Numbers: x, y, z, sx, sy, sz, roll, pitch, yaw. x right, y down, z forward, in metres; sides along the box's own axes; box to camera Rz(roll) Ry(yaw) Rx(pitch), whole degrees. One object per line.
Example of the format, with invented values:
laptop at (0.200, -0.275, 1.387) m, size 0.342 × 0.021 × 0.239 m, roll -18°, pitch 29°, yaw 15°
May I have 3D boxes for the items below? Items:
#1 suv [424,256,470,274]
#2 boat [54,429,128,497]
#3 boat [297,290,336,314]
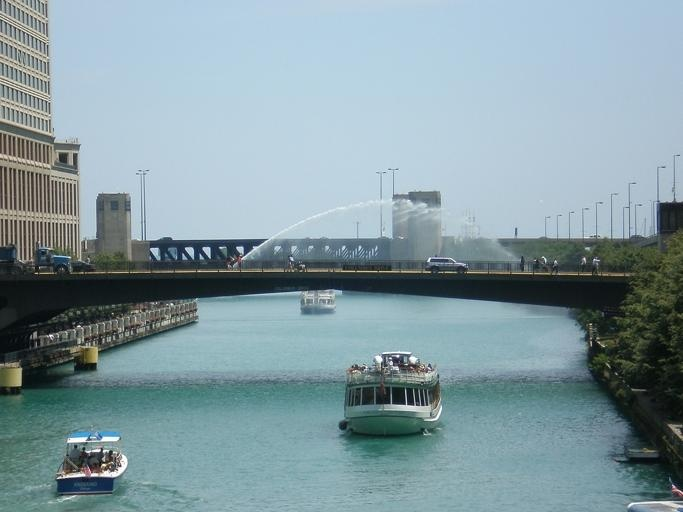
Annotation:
suv at (11.608, 1.133, 134.277) m, size 4.386 × 1.724 × 1.982 m, roll -1°, pitch 0°, yaw 11°
boat at (-19.844, 16.376, 93.998) m, size 4.768 × 3.891 × 5.097 m, roll -1°, pitch 7°, yaw -3°
boat at (-4.857, 9.879, 241.189) m, size 6.340 × 4.745 × 7.113 m, roll -1°, pitch 7°, yaw -8°
